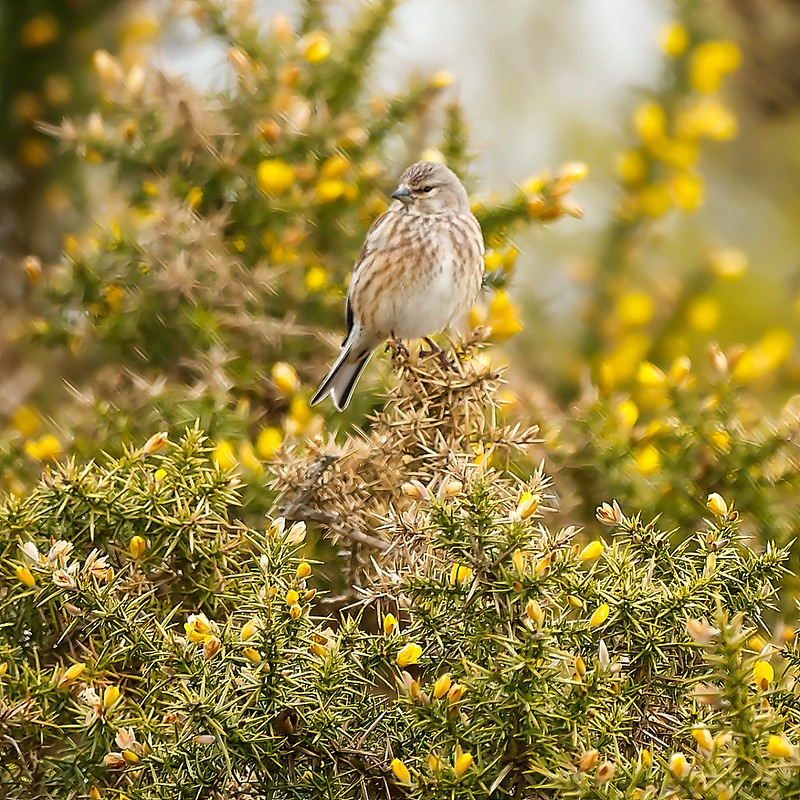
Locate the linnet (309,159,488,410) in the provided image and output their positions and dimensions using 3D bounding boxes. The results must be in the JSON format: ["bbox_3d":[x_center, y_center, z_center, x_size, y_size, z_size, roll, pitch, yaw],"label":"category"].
[{"bbox_3d":[-0.021,-0.407,4.005,0.410,0.925,0.559,21,41,-27],"label":"linnet"}]
